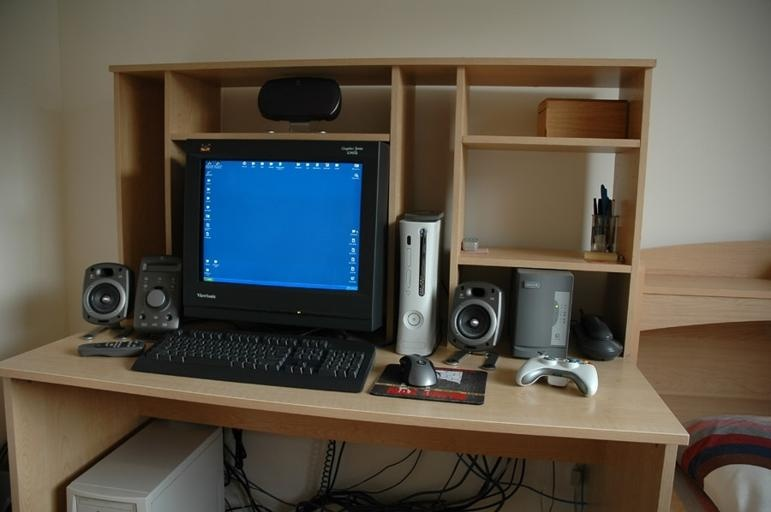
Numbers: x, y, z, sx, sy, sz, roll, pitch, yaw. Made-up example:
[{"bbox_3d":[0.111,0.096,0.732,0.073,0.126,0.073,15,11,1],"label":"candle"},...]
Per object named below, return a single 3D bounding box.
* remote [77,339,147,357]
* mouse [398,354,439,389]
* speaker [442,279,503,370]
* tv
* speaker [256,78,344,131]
[{"bbox_3d":[-1.009,0.341,2.280,0.178,0.040,0.096,1,8,-6],"label":"remote"},{"bbox_3d":[0.121,0.398,2.205,0.129,0.067,0.207,-1,16,-6],"label":"mouse"},{"bbox_3d":[0.344,0.241,2.316,0.271,0.354,0.297,2,2,23],"label":"speaker"},{"bbox_3d":[-0.393,-0.096,2.423,0.789,0.717,0.173,3,7,10],"label":"tv"},{"bbox_3d":[-0.345,-0.630,2.470,0.299,0.193,0.138,1,-5,6],"label":"speaker"}]
